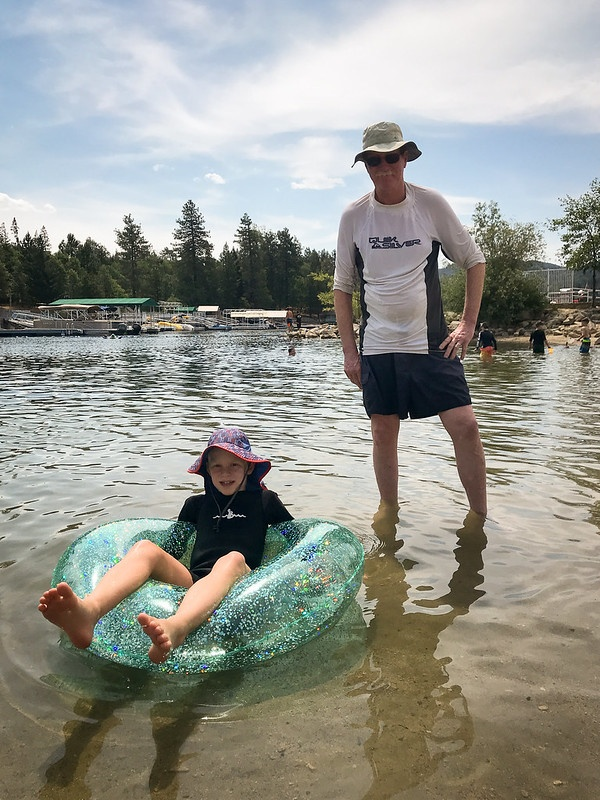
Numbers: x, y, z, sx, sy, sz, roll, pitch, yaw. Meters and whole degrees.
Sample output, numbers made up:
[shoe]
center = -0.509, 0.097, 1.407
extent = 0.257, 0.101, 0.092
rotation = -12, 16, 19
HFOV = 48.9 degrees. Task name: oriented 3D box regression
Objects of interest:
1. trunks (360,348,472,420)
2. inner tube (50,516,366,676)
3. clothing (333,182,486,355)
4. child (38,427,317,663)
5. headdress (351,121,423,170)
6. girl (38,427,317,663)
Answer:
[trunks]
center = 0.648, -0.153, 3.836
extent = 0.662, 0.435, 0.346
rotation = -8, -6, 28
[inner tube]
center = -0.251, 0.783, 2.640
extent = 0.743, 0.223, 0.715
rotation = -1, 3, -2
[clothing]
center = 0.597, -0.743, 3.803
extent = 0.940, 0.850, 0.387
rotation = 2, 17, 20
[child]
center = -0.467, 0.550, 2.756
extent = 0.742, 0.668, 1.215
rotation = 1, 2, 22
[headdress]
center = 0.471, -1.363, 3.469
extent = 0.329, 0.184, 0.232
rotation = -1, 7, -4
[girl]
center = -0.478, 0.547, 2.777
extent = 0.743, 0.679, 1.190
rotation = 2, 2, 23
